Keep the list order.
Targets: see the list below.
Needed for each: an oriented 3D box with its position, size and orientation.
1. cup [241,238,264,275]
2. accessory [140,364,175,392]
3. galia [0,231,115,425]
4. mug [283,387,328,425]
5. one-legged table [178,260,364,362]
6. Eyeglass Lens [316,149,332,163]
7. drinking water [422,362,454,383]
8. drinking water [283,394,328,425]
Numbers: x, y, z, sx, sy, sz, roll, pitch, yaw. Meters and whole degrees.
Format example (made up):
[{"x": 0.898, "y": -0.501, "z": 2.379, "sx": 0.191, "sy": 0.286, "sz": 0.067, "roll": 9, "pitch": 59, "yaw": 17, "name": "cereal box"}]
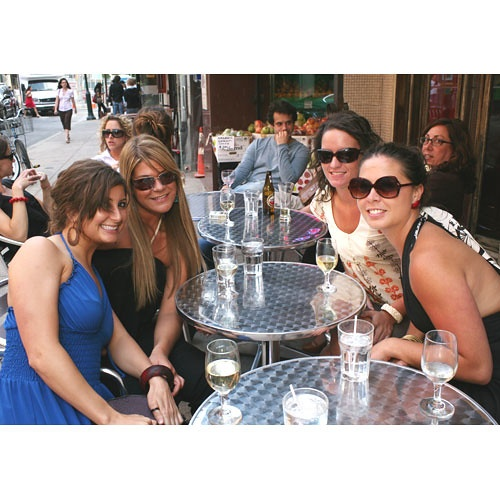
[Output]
[{"x": 0.047, "y": 0.048, "z": 2.553, "sx": 0.163, "sy": 0.209, "sz": 0.148, "roll": -2, "pitch": 1, "yaw": 0, "name": "cup"}, {"x": -0.431, "y": 0.592, "z": 2.070, "sx": 0.136, "sy": 0.110, "sz": 0.049, "roll": 30, "pitch": 4, "yaw": -14, "name": "accessory"}, {"x": -0.877, "y": 0.349, "z": 1.969, "sx": 0.420, "sy": 0.745, "sz": 0.564, "roll": -5, "pitch": 21, "yaw": -3, "name": "galia"}, {"x": 0.168, "y": 0.482, "z": 1.357, "sx": 0.147, "sy": 0.076, "sz": 0.135, "roll": 1, "pitch": 13, "yaw": 4, "name": "mug"}, {"x": 0.166, "y": 0.329, "z": 2.528, "sx": 0.735, "sy": 0.444, "sz": 0.723, "roll": 21, "pitch": -16, "yaw": -41, "name": "one-legged table"}, {"x": 0.542, "y": -0.688, "z": 3.239, "sx": 0.111, "sy": 0.046, "sz": 0.106, "roll": -30, "pitch": 40, "yaw": -34, "name": "Eyeglass Lens"}, {"x": 0.621, "y": 0.402, "z": 1.477, "sx": 0.087, "sy": 0.056, "sz": 0.079, "roll": -7, "pitch": 12, "yaw": -12, "name": "drinking water"}, {"x": 0.170, "y": 0.447, "z": 1.342, "sx": 0.127, "sy": 0.066, "sz": 0.117, "roll": 0, "pitch": 9, "yaw": 3, "name": "drinking water"}]
